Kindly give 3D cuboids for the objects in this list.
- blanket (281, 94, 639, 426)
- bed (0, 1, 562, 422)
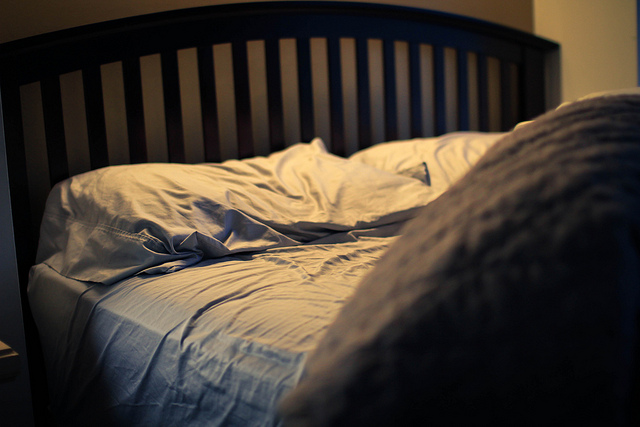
[{"bbox_3d":[0.250,0.111,0.790,0.565,0.175,0.324,-46,31,-23],"label":"blanket"},{"bbox_3d":[-0.215,-0.045,1.431,1.103,0.701,1.030,-17,18,-39],"label":"bed"}]
